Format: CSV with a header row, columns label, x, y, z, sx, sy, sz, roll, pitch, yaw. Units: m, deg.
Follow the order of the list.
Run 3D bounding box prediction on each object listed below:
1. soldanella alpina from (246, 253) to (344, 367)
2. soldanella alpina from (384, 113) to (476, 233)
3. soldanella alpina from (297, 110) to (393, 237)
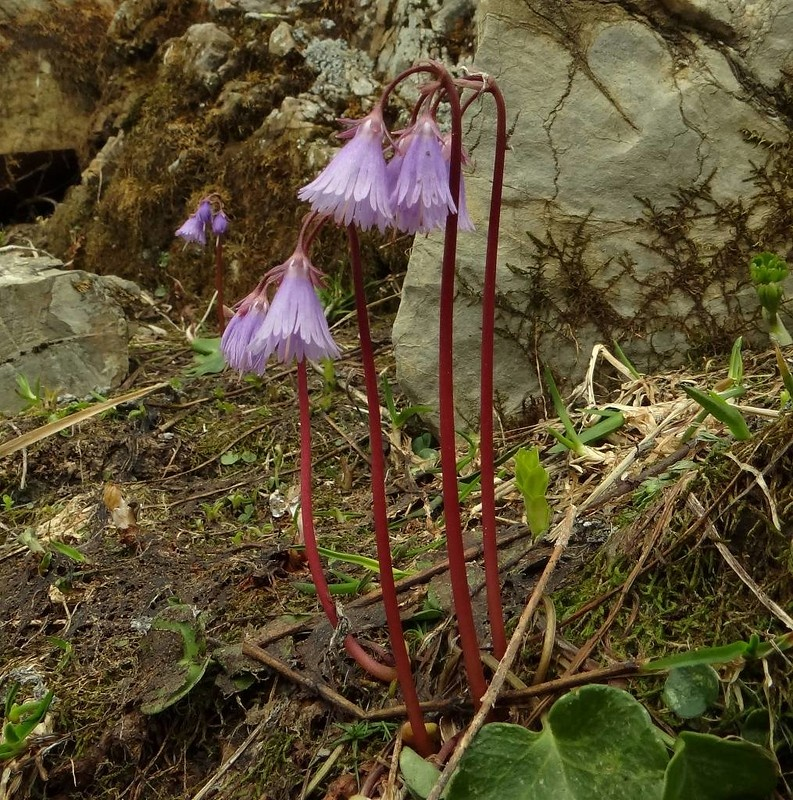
label,x,y,z,sx,sy,sz,roll,pitch,yaw
soldanella alpina,-0.241,-0.212,2.227,0.206,0.278,0.246,-3,13,-16
soldanella alpina,0.047,-0.408,1.978,0.125,0.239,0.170,-5,31,4
soldanella alpina,-0.100,-0.426,1.979,0.177,0.194,0.168,-7,31,1
